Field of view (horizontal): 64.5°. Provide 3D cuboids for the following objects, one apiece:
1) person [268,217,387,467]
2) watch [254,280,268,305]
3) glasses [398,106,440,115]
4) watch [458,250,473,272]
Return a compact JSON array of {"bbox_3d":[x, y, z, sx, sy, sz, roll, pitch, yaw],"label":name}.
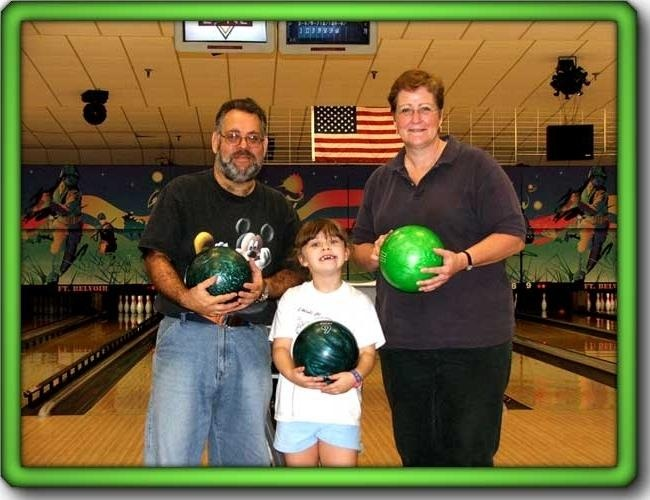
[{"bbox_3d":[0.006,0.469,1.991,0.449,0.993,0.758,3,28,-6],"label":"person"},{"bbox_3d":[-0.241,0.164,1.993,0.031,0.080,0.063,10,-12,-20],"label":"watch"},{"bbox_3d":[0.346,-0.509,1.908,0.142,0.042,0.033,6,28,0],"label":"glasses"},{"bbox_3d":[0.509,0.042,1.838,0.027,0.067,0.063,-13,38,-5],"label":"watch"}]
